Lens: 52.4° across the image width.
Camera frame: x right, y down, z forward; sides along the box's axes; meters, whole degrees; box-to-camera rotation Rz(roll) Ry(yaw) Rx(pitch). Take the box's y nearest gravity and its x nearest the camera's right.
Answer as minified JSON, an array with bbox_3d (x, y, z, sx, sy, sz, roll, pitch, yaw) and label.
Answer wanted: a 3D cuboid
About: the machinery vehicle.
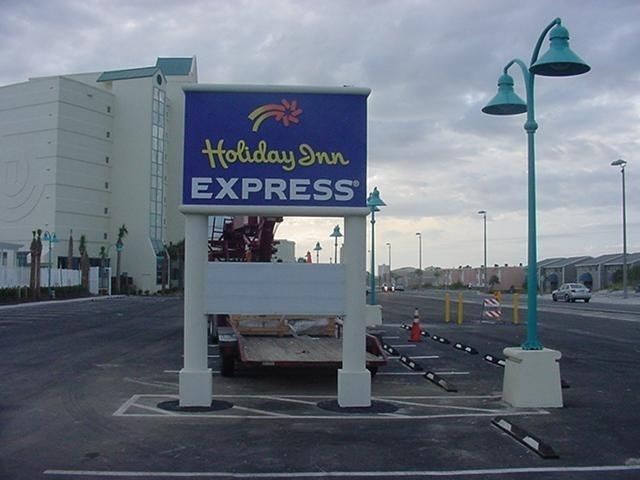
[{"bbox_3d":[-0.836,1.808,16.723,4.405,3.401,7.258,0,0,-5],"label":"machinery vehicle"}]
